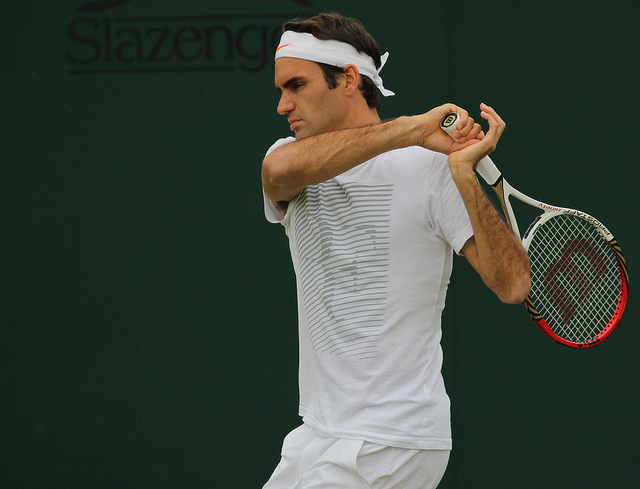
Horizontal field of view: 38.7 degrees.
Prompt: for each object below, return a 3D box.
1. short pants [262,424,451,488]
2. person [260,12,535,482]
[{"bbox_3d":[0.145,1.018,4.283,0.871,0.313,0.210,-4,4,10],"label":"short pants"},{"bbox_3d":[0.265,-0.001,4.371,1.153,2.258,0.621,-4,4,-6],"label":"person"}]
